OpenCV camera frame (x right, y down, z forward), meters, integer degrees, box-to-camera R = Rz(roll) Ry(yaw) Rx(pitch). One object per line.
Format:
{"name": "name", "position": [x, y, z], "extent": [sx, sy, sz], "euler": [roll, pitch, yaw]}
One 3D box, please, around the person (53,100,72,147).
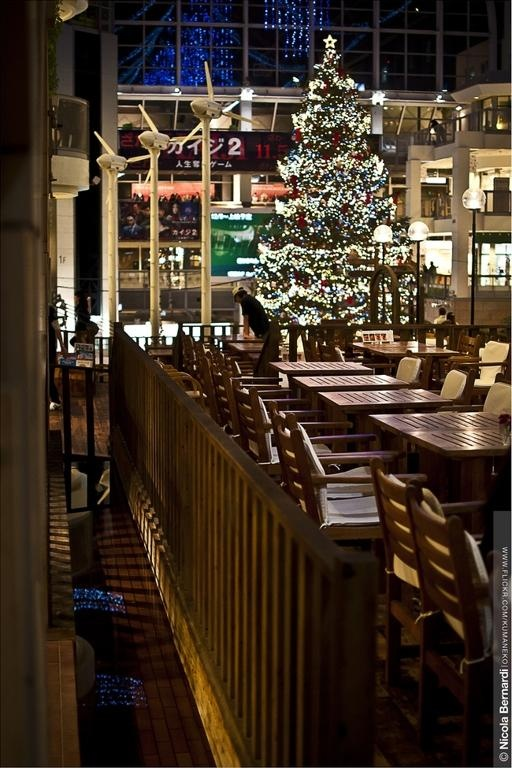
{"name": "person", "position": [-4.490, -5.921, 15.753], "extent": [0.406, 1.200, 0.431], "euler": [4, 9, -26]}

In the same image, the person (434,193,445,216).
{"name": "person", "position": [8.798, -8.500, 32.797], "extent": [0.475, 0.685, 1.166], "euler": [-11, 7, 15]}

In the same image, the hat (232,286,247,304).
{"name": "hat", "position": [-0.267, -1.670, 12.554], "extent": [0.241, 0.319, 0.308], "euler": [-1, -20, -14]}

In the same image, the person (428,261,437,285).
{"name": "person", "position": [7.313, -4.586, 28.542], "extent": [0.339, 0.564, 1.094], "euler": [-11, 7, 16]}

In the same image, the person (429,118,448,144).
{"name": "person", "position": [8.661, -11.934, 32.689], "extent": [0.582, 1.385, 2.682], "euler": [-10, 7, 12]}
